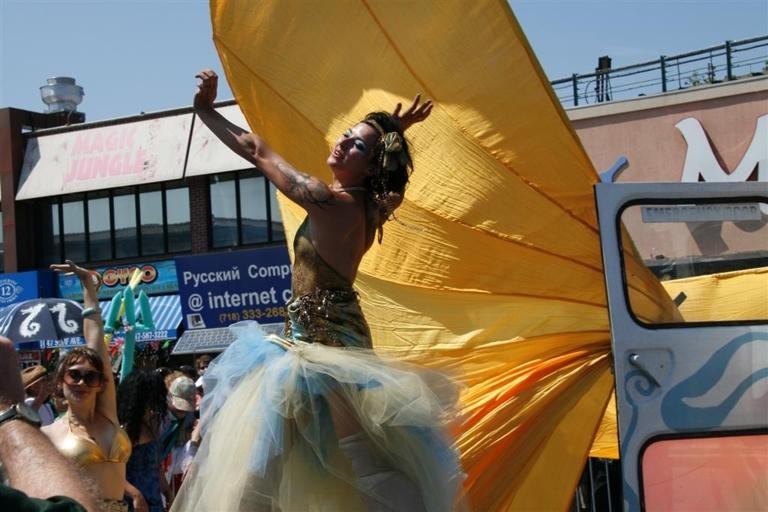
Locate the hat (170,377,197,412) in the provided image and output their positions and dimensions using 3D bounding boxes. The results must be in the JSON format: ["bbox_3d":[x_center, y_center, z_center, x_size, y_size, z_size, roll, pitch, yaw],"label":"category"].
[{"bbox_3d":[-1.999,1.356,7.501,0.225,0.176,0.333,15,15,-39],"label":"hat"}]
